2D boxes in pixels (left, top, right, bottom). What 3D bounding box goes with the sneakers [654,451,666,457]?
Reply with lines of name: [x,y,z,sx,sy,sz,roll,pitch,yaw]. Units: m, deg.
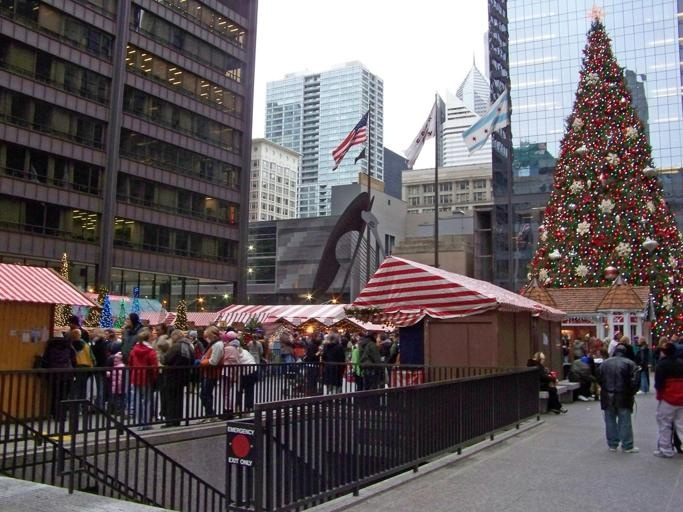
sneakers: [8.154,5.080,20.460,0.096,0.194,0.289,0,5,-17]

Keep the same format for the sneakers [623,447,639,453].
sneakers: [7.562,5.098,20.837,0.272,0.122,0.154,-4,-2,-15]

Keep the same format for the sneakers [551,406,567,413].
sneakers: [7.226,5.110,26.480,0.522,0.257,0.216,-1,-3,4]
